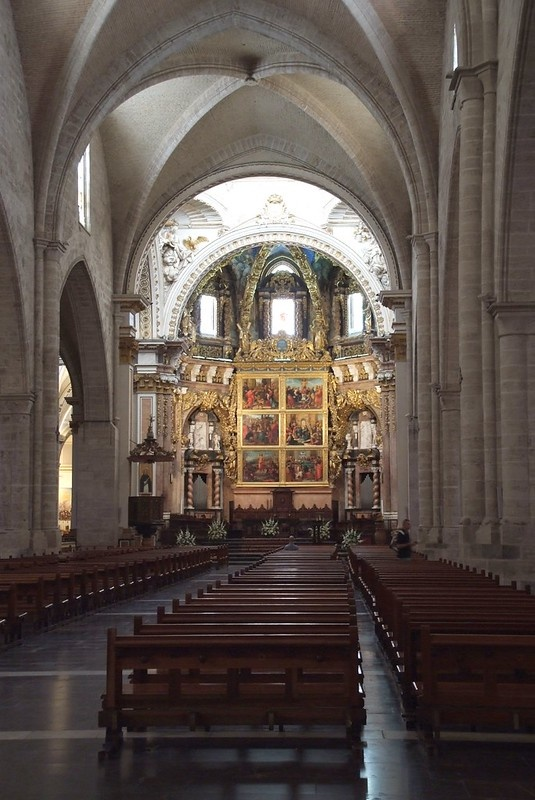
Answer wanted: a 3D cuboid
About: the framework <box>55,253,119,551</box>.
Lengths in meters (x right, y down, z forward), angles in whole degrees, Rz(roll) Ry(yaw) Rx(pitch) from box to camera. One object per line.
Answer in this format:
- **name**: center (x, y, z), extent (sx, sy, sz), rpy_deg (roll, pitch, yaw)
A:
- **framework**: center (-5.487, 0.230, 25.856), extent (1.048, 8.199, 1.803), rpy_deg (-2, -1, -22)
